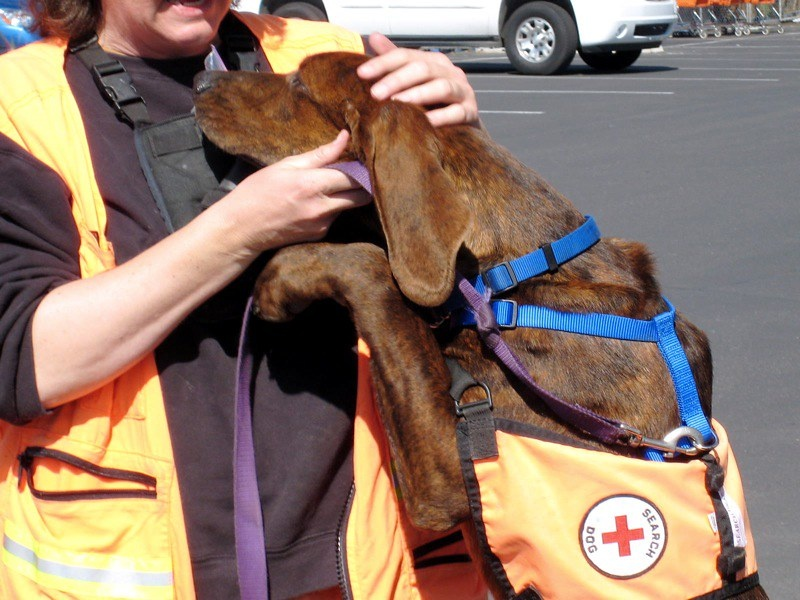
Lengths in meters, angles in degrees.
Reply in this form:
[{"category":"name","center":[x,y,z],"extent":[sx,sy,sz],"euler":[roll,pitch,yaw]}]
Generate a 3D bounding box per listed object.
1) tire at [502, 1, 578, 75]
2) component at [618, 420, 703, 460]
[{"category":"tire","center":[2.044,-3.890,11.851],"extent":[0.746,0.774,0.275],"euler":[16,34,35]},{"category":"component","center":[0.675,0.368,2.093],"extent":[0.181,0.031,0.097],"euler":[10,51,-1]}]
